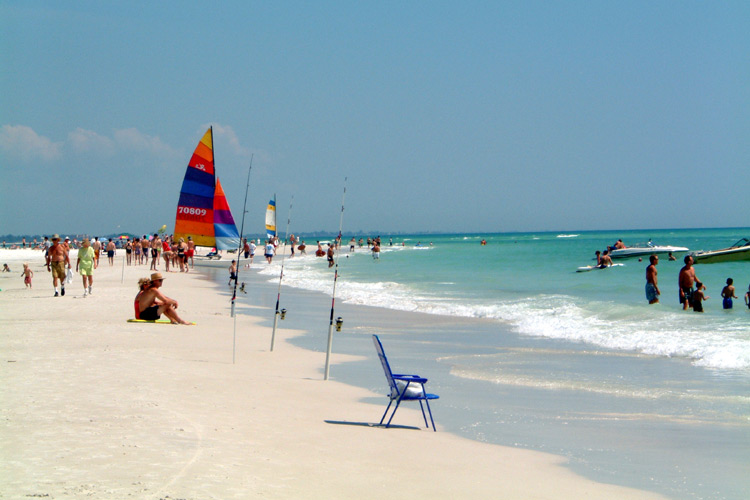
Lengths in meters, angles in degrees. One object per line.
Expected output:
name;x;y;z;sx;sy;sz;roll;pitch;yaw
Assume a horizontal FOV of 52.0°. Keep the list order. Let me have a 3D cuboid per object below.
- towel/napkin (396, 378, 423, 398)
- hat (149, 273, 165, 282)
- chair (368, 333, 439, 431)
towel/napkin;0.466;1.898;10.730;0.363;0.204;0.427;4;10;0
hat;-4.246;0.511;14.979;0.294;0.108;0.315;0;2;2
chair;0.489;1.887;11.015;0.944;1.267;0.773;1;-4;0
